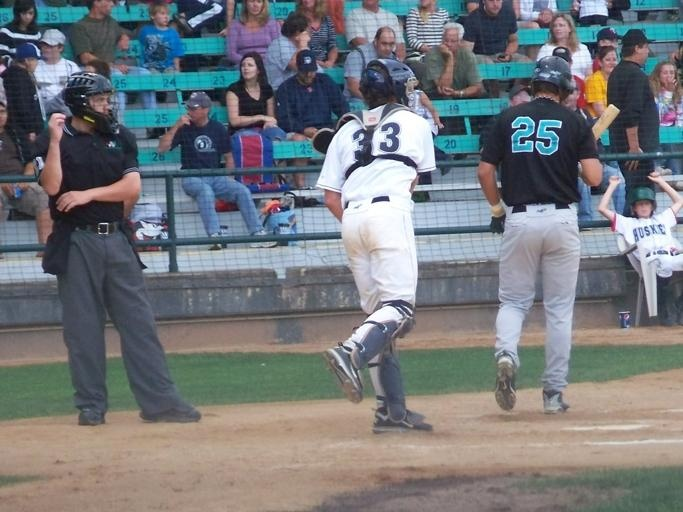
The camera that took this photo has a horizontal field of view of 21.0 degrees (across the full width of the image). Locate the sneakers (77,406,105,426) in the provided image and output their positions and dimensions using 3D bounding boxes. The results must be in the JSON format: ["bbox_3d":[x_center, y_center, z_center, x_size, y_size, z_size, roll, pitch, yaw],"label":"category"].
[{"bbox_3d":[-2.285,1.475,16.822,0.110,0.113,0.270,-1,-17,13],"label":"sneakers"}]

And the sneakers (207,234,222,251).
[{"bbox_3d":[-1.377,-0.156,20.317,0.157,0.189,0.303,-3,3,-3],"label":"sneakers"}]

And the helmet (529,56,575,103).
[{"bbox_3d":[2.019,-1.719,17.234,0.383,0.418,0.479,24,20,30],"label":"helmet"}]

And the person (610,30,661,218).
[{"bbox_3d":[3.364,-1.775,20.780,0.465,1.336,0.388,-7,5,-42],"label":"person"}]

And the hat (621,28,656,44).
[{"bbox_3d":[3.310,-2.490,20.644,0.280,0.122,0.176,-7,11,-12],"label":"hat"}]

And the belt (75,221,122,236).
[{"bbox_3d":[-2.220,-0.261,16.860,0.393,0.118,0.066,-2,4,-6],"label":"belt"}]

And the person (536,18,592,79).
[{"bbox_3d":[2.614,-2.493,22.031,0.675,0.760,0.963,-4,-4,14],"label":"person"}]

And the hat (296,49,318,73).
[{"bbox_3d":[-0.395,-2.242,20.982,0.210,0.154,0.277,-5,32,-9],"label":"hat"}]

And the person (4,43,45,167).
[{"bbox_3d":[-3.525,-1.726,20.506,0.448,1.354,0.675,-3,4,-8],"label":"person"}]

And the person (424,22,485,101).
[{"bbox_3d":[1.249,-2.331,21.968,0.761,0.832,0.802,10,16,38],"label":"person"}]

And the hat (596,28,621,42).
[{"bbox_3d":[3.123,-2.634,21.713,0.163,0.101,0.219,-18,22,-40],"label":"hat"}]

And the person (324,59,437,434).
[{"bbox_3d":[0.331,-0.253,16.345,1.041,3.023,0.805,-3,4,1],"label":"person"}]

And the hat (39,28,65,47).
[{"bbox_3d":[-3.293,-2.545,21.232,0.201,0.123,0.250,4,-1,12],"label":"hat"}]

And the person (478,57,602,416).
[{"bbox_3d":[1.831,-0.206,16.973,1.091,3.294,0.804,-3,4,3],"label":"person"}]

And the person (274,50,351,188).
[{"bbox_3d":[-0.337,-1.561,21.096,1.116,1.429,1.049,-12,19,-32],"label":"person"}]

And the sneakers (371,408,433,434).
[{"bbox_3d":[0.540,1.485,16.534,0.525,0.174,0.212,-1,0,-9],"label":"sneakers"}]

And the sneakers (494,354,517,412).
[{"bbox_3d":[1.513,1.158,16.808,0.225,0.470,0.258,-4,-3,9],"label":"sneakers"}]

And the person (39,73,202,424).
[{"bbox_3d":[-2.166,-0.077,16.903,1.132,3.242,0.390,-4,4,-9],"label":"person"}]

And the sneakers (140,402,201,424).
[{"bbox_3d":[-1.532,1.447,17.051,0.614,0.217,0.190,-2,-3,0],"label":"sneakers"}]

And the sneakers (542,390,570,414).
[{"bbox_3d":[1.977,1.336,16.963,0.240,0.209,0.129,-3,4,-2],"label":"sneakers"}]

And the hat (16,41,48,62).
[{"bbox_3d":[-3.491,-2.328,20.804,0.291,0.144,0.193,-10,22,-40],"label":"hat"}]

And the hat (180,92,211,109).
[{"bbox_3d":[-1.623,-1.771,20.706,0.246,0.115,0.177,-2,6,-41],"label":"hat"}]

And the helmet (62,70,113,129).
[{"bbox_3d":[-2.334,-1.448,16.998,0.586,0.503,0.453,5,3,-1],"label":"helmet"}]

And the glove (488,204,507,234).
[{"bbox_3d":[1.487,-0.345,17.359,0.191,0.222,0.090,10,13,29],"label":"glove"}]
